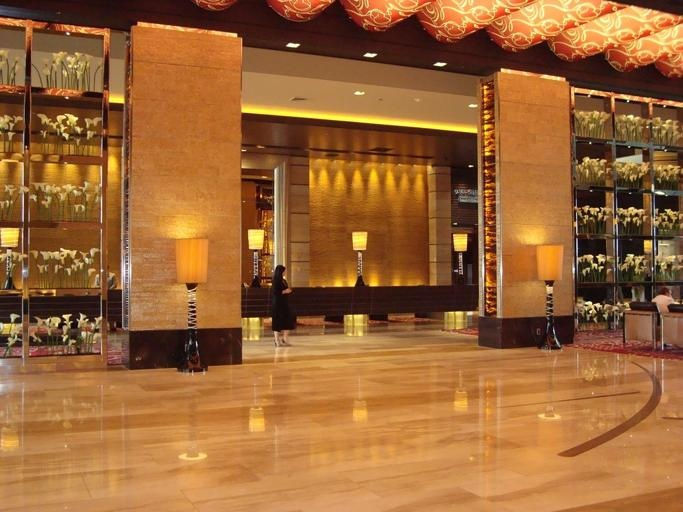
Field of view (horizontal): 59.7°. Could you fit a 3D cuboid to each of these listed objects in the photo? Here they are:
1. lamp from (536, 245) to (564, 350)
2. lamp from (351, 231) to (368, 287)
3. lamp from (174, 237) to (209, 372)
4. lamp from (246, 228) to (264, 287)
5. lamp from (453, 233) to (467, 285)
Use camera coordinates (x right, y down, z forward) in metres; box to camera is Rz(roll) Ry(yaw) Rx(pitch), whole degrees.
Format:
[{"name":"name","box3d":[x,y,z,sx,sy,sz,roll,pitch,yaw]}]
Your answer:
[{"name":"lamp","box3d":[3.632,0.717,10.404,0.389,1.780,0.638,-1,-5,12]},{"name":"lamp","box3d":[0.527,0.056,17.492,0.444,1.608,1.058,-1,-4,1]},{"name":"lamp","box3d":[-2.138,0.680,8.451,0.435,1.877,0.458,1,-5,-12]},{"name":"lamp","box3d":[-2.523,0.046,17.647,0.516,1.741,2.019,0,-4,-9]},{"name":"lamp","box3d":[3.785,0.031,18.893,0.521,1.625,1.261,-1,-4,12]}]
